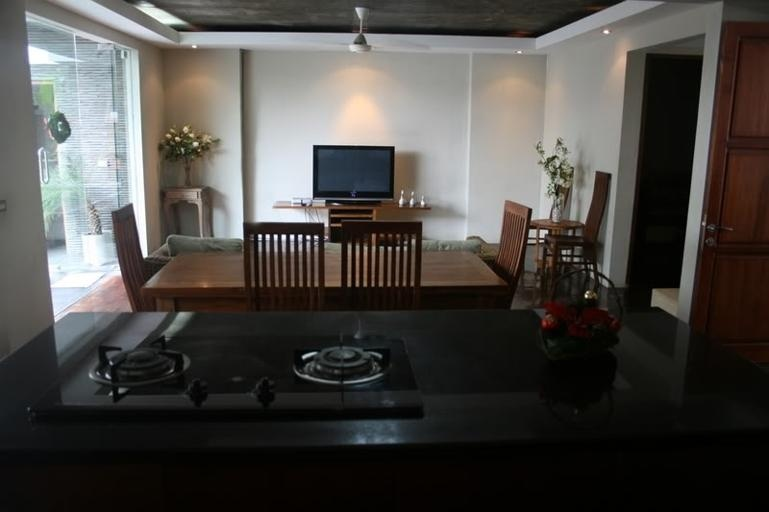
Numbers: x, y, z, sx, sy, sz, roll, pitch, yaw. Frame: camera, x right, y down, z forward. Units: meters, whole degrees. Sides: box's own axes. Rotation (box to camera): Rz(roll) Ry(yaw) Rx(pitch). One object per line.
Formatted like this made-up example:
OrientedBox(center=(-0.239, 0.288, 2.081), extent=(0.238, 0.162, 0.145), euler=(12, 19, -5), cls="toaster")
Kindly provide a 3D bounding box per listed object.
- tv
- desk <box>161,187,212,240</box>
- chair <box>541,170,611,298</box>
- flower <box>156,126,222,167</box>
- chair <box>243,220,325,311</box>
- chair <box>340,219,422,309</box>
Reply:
OrientedBox(center=(-0.527, -1.279, 8.181), extent=(1.317, 0.867, 0.691), euler=(-1, 21, -16), cls="tv")
OrientedBox(center=(-2.764, -0.568, 7.694), extent=(0.604, 0.744, 0.528), euler=(0, 12, -2), cls="desk")
OrientedBox(center=(2.126, -0.272, 6.141), extent=(0.635, 1.298, 2.022), euler=(7, 15, 21), cls="chair")
OrientedBox(center=(-2.758, -1.457, 7.615), extent=(0.654, 0.530, 0.570), euler=(-2, 5, -7), cls="flower")
OrientedBox(center=(-0.582, 0.038, 3.327), extent=(0.447, 0.392, 0.608), euler=(0, 10, -3), cls="chair")
OrientedBox(center=(-0.022, 0.067, 3.227), extent=(0.417, 0.704, 0.414), euler=(1, 41, 0), cls="chair")
